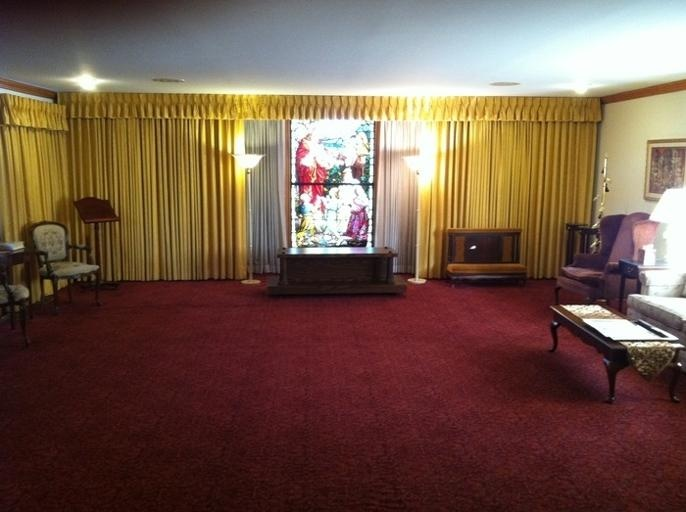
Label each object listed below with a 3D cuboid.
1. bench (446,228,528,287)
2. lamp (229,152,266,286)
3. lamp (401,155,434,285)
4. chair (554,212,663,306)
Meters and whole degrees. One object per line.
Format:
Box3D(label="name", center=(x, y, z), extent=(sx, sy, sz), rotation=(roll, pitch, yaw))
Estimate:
Box3D(label="bench", center=(2.450, -0.019, 8.062), extent=(1.329, 0.786, 0.455), rotation=(0, 15, -5))
Box3D(label="lamp", center=(-1.624, -0.675, 8.230), extent=(0.539, 2.227, 1.045), rotation=(-2, 14, -9))
Box3D(label="lamp", center=(1.306, -0.677, 8.311), extent=(0.471, 2.216, 1.107), rotation=(3, 14, 10))
Box3D(label="chair", center=(3.846, -0.039, 7.101), extent=(1.485, 1.724, 1.293), rotation=(-1, 5, -3))
